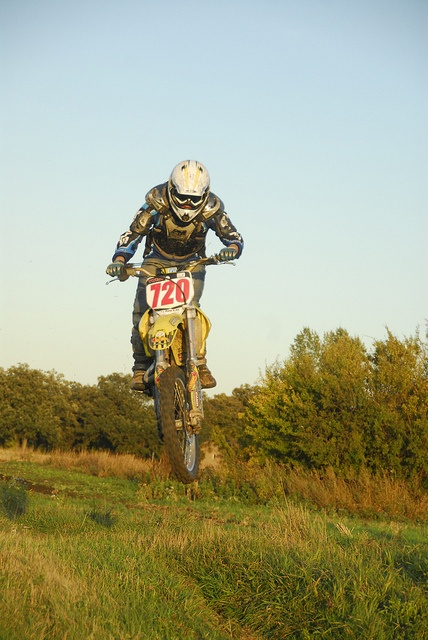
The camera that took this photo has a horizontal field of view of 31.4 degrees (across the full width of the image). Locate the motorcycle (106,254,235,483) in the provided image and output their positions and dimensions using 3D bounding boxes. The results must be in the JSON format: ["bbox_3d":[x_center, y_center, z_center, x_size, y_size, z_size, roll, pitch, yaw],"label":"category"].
[{"bbox_3d":[-0.388,0.389,7.506,0.867,2.397,1.289,2,-10,1],"label":"motorcycle"}]

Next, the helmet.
[{"bbox_3d":[-0.287,-1.364,8.166,0.448,0.587,0.464,3,-10,-4],"label":"helmet"}]

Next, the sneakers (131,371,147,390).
[{"bbox_3d":[-0.805,0.649,8.227,0.197,0.249,0.556,0,-2,-1],"label":"sneakers"}]
